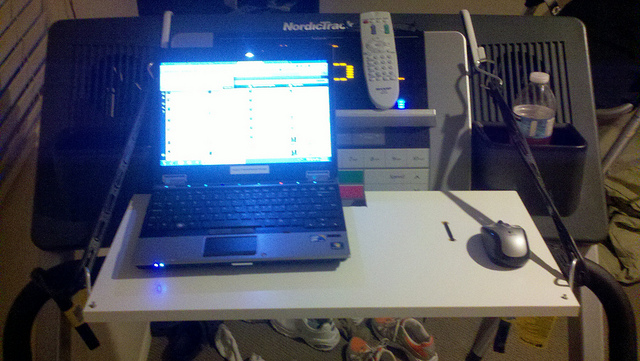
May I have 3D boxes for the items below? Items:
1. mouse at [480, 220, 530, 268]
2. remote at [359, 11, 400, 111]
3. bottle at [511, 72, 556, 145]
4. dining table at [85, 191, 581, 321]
[{"bbox_3d":[0.687,0.200,1.816,0.170,0.095,0.270,-4,25,7],"label":"mouse"},{"bbox_3d":[0.248,-0.484,1.959,0.138,0.413,0.078,-5,-6,3],"label":"remote"},{"bbox_3d":[0.878,-0.275,1.976,0.161,0.375,0.196,2,5,10],"label":"bottle"},{"bbox_3d":[0.061,0.254,1.799,1.617,0.261,0.486,-3,40,2],"label":"dining table"}]
